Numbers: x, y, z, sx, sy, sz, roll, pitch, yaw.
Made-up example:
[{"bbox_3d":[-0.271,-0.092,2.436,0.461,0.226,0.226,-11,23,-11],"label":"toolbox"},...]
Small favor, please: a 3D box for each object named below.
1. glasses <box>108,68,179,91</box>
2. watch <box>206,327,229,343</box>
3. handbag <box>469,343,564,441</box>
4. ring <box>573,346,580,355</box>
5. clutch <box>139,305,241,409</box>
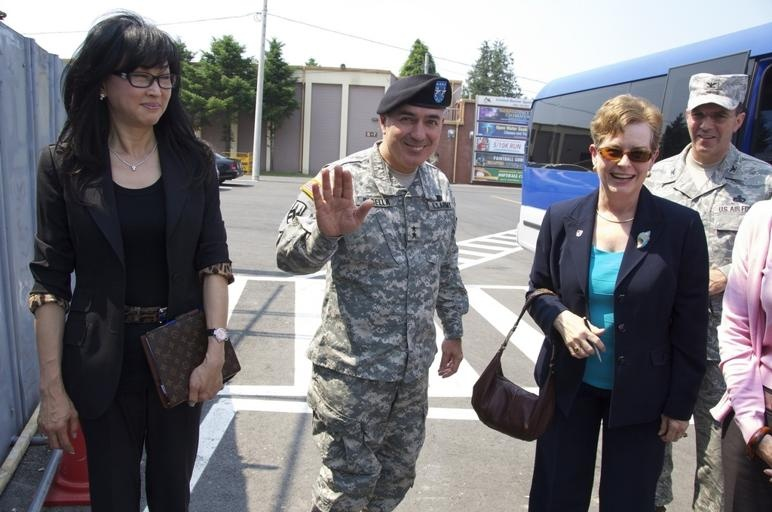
[{"bbox_3d":[-1.289,-0.934,3.014,0.301,0.101,0.080,-3,15,-28],"label":"glasses"},{"bbox_3d":[-0.958,0.437,3.161,0.085,0.052,0.087,-3,-3,30],"label":"watch"},{"bbox_3d":[0.767,0.844,3.447,0.526,0.628,0.418,0,-1,-11],"label":"handbag"},{"bbox_3d":[1.092,0.539,3.231,0.035,0.035,0.008,-28,-26,34],"label":"ring"},{"bbox_3d":[-1.076,0.509,3.080,0.358,0.535,0.430,7,0,-27],"label":"clutch"}]
